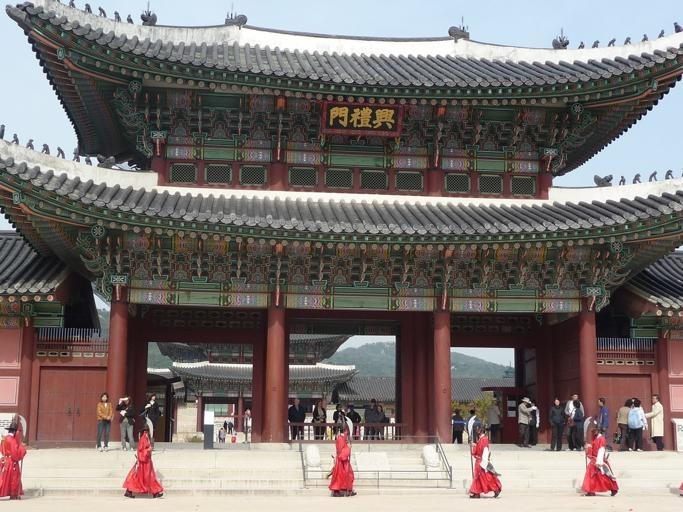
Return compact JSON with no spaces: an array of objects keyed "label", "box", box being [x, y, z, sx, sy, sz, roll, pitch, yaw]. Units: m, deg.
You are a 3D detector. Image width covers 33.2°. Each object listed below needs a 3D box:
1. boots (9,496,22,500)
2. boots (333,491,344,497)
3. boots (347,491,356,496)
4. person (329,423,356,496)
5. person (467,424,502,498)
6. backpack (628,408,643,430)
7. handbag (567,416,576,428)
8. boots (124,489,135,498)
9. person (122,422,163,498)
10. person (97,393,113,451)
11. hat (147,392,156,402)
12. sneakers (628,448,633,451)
[{"label":"boots","box":[-8.354,6.204,29.467,0.370,0.096,0.232,13,-20,-43]},{"label":"boots","box":[-0.072,6.304,30.442,0.167,0.154,0.154,7,-12,-36]},{"label":"boots","box":[0.308,6.344,30.652,0.219,0.095,0.077,21,-23,-35]},{"label":"person","box":[0.036,5.518,30.945,0.690,1.913,1.032,-1,-14,1]},{"label":"person","box":[3.860,5.507,30.944,0.841,2.005,0.991,-2,-15,6]},{"label":"backpack","box":[9.048,5.008,35.210,0.603,0.633,0.344,2,-4,18]},{"label":"handbag","box":[7.194,5.208,35.921,0.256,0.350,0.126,-4,-2,35]},{"label":"boots","box":[-5.546,6.219,30.057,0.382,0.271,0.132,-1,-7,26]},{"label":"person","box":[-5.196,5.404,30.274,1.034,1.902,0.764,2,-15,-11]},{"label":"person","box":[-6.941,4.876,33.745,0.437,1.705,1.078,2,-15,-11]},{"label":"hat","box":[-5.614,4.200,34.029,0.178,0.239,0.249,3,-7,-12]},{"label":"sneakers","box":[8.971,5.968,35.503,0.120,0.090,0.120,-3,-1,-20]}]
